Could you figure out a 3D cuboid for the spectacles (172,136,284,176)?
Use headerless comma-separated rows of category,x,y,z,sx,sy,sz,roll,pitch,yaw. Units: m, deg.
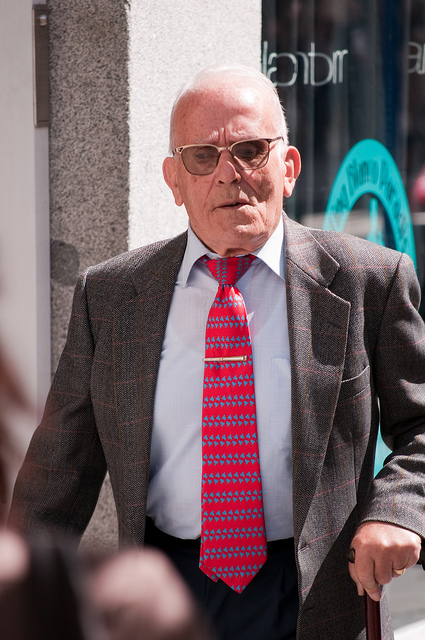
spectacles,0.032,-0.412,1.719,0.250,0.093,0.065,1,11,5

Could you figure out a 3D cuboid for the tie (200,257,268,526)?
tie,0.050,0.191,1.644,0.153,0.527,0.291,0,11,-1
